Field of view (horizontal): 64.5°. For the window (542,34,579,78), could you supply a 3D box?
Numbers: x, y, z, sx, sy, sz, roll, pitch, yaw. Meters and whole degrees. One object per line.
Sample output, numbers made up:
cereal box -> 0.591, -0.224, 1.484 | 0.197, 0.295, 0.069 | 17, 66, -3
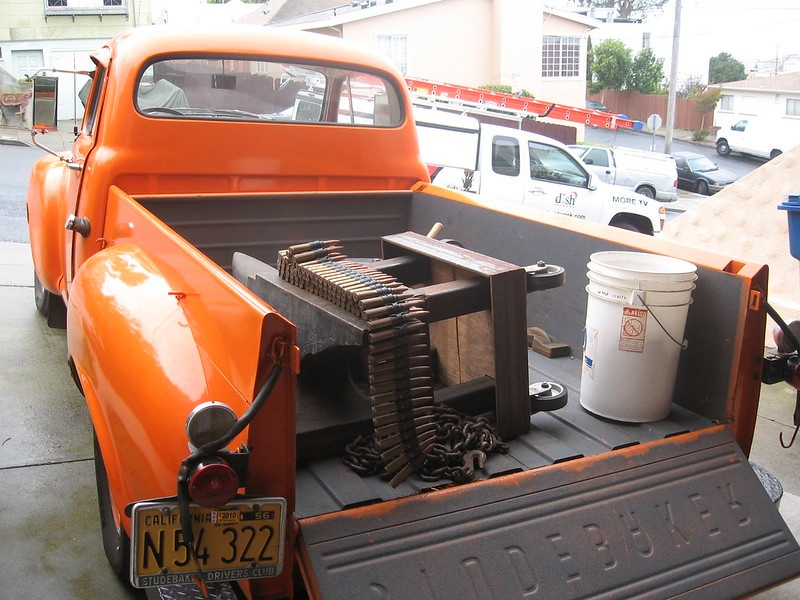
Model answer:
window -> 7.479, -11.546, 29.877 | 2.141, 2.063, 0.177 | 0, 8, -8

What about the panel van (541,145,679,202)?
panel van -> 5.948, -3.548, 19.280 | 4.475, 1.880, 2.065 | 5, 5, -9
